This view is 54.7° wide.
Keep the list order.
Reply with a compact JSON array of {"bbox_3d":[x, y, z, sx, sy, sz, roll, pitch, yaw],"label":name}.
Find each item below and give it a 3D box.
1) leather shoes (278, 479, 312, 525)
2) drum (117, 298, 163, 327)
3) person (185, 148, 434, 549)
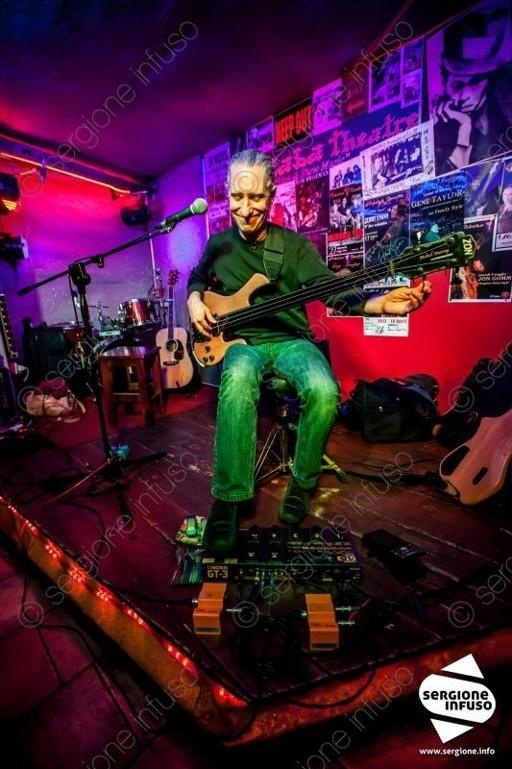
[{"bbox_3d":[0.138,0.429,1.795,0.073,0.206,0.138,5,54,16],"label":"leather shoes"},{"bbox_3d":[-0.903,-0.565,4.006,0.309,0.182,0.314,-3,3,0],"label":"drum"},{"bbox_3d":[0.180,-0.239,1.966,0.880,1.328,1.125,-2,11,-10],"label":"person"}]
